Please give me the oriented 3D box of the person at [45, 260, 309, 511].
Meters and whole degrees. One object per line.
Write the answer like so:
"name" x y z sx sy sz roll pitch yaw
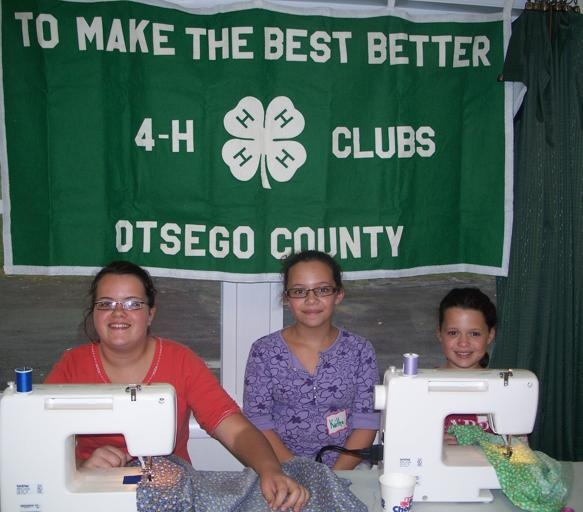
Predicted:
"person" -0.421 0.453 3.627 1.028 0.934 0.394 -4 -1 26

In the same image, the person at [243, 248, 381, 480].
"person" 0.086 0.435 4.208 0.624 1.284 0.746 0 7 -3
